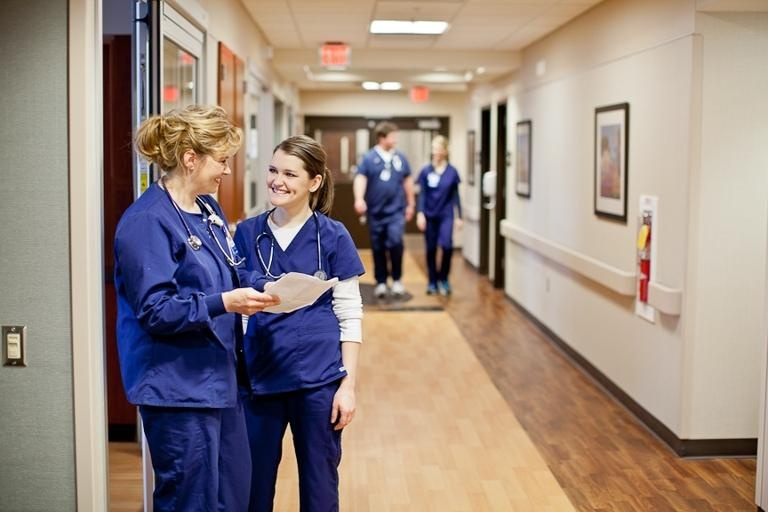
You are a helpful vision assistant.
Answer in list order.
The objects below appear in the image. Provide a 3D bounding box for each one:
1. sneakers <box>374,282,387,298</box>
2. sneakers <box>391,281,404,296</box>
[{"bbox_3d":[-0.047,0.411,7.400,0.146,0.161,0.349,0,-6,0],"label":"sneakers"},{"bbox_3d":[0.158,0.390,7.455,0.175,0.192,0.422,0,-1,1],"label":"sneakers"}]
